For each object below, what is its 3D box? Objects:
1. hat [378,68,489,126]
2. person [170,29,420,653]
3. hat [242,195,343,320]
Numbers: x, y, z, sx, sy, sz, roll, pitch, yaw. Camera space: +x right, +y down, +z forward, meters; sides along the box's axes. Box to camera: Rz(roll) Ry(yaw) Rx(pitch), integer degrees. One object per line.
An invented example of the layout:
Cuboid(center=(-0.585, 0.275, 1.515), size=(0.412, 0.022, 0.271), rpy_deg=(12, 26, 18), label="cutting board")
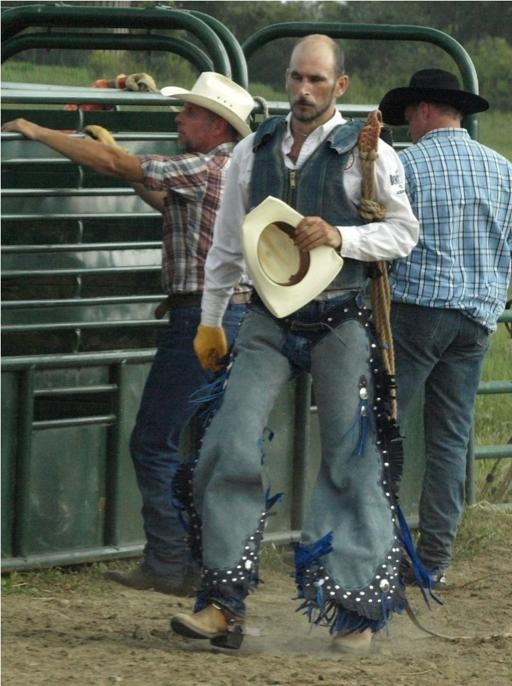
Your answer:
Cuboid(center=(0.713, -1.039, 5.061), size=(0.394, 0.153, 0.436), rpy_deg=(-2, -3, -34), label="hat")
Cuboid(center=(0.183, 0.026, 4.117), size=(0.754, 2.047, 0.640), rpy_deg=(5, 7, -4), label="person")
Cuboid(center=(0.125, -0.259, 3.964), size=(0.324, 0.392, 0.231), rpy_deg=(6, 6, 9), label="hat")
